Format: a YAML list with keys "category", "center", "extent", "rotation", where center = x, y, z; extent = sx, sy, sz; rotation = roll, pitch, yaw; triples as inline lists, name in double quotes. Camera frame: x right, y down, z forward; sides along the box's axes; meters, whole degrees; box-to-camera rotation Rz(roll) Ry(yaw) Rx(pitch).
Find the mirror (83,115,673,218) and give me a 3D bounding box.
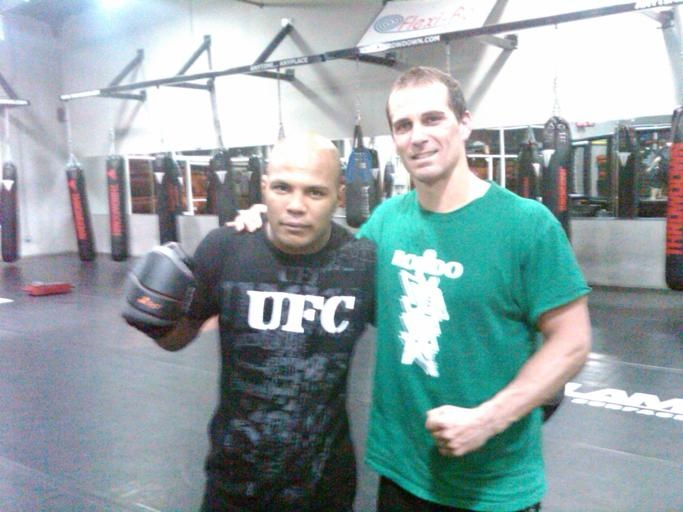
- category: "mirror"
  center: [0.219, -1.025, 6.226]
  extent: [6.927, 1.224, 0.067]
  rotation: [1, -11, 7]
